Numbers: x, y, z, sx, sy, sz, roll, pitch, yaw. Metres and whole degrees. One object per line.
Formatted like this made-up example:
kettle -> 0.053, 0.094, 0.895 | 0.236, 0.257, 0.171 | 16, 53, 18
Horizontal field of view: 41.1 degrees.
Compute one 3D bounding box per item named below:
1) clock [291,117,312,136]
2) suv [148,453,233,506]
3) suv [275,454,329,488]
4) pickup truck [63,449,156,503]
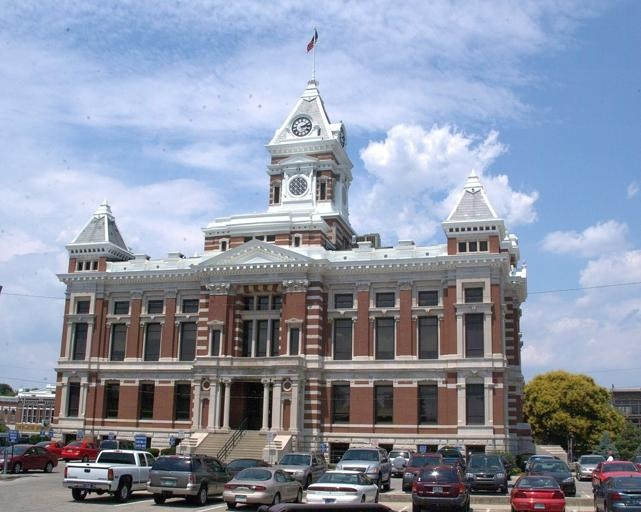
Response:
clock -> -1.749, -11.795, 78.557 | 1.981, 1.491, 1.750 | -5, -20, 31
suv -> -6.472, 11.110, 42.963 | 3.303, 2.188, 6.099 | -2, -9, 14
suv -> -1.328, 12.234, 49.610 | 2.654, 1.426, 2.145 | -3, -14, 10
pickup truck -> -10.590, 11.036, 43.096 | 1.884, 2.531, 3.830 | -17, -20, 42
